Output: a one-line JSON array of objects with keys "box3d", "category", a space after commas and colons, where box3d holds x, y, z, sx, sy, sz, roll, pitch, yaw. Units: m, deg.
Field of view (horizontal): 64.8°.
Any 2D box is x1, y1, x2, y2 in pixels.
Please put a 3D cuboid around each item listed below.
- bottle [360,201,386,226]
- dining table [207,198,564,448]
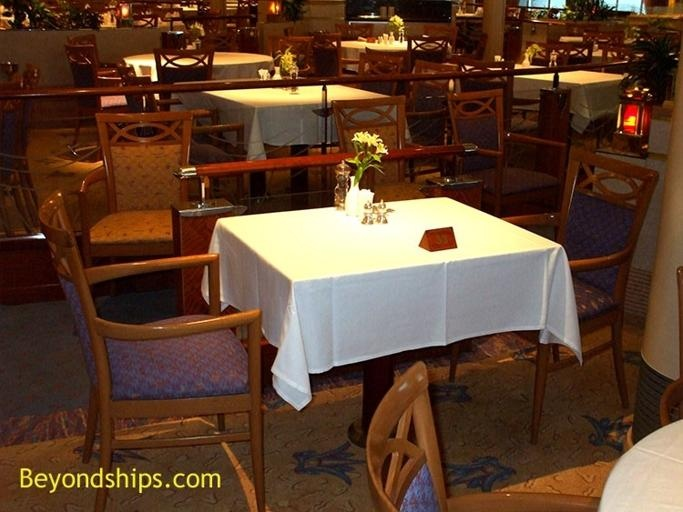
[{"box3d": [0.145, -0.189, 2.452, 0.096, 0.096, 0.056, -5, 30, -10], "category": "bottle"}, {"box3d": [0.106, -0.097, 2.348, 1.194, 0.819, 1.041, -9, 26, -22], "category": "dining table"}]
